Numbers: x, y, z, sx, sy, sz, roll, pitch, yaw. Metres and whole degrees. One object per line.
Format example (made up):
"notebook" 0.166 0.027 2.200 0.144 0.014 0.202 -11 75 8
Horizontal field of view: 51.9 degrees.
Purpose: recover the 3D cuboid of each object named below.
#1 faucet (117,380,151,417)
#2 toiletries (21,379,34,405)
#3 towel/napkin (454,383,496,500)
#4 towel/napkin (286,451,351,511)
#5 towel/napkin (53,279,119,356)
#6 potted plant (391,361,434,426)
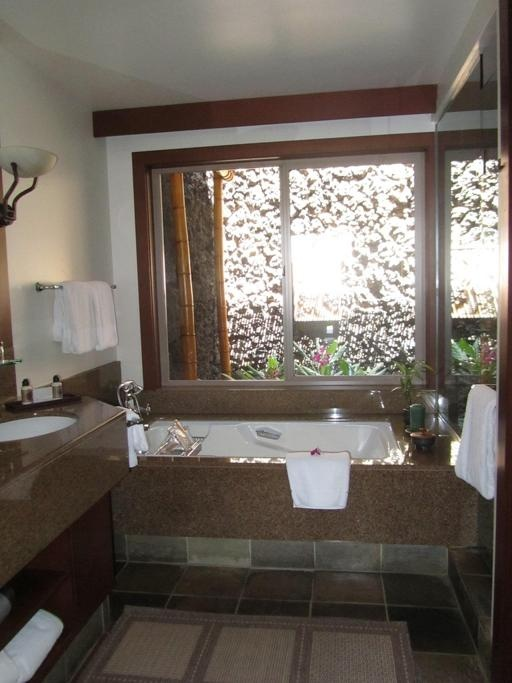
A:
"faucet" -0.668 0.319 2.877 0.136 0.240 0.181 -4 17 -5
"toiletries" -0.847 0.180 1.951 0.038 0.087 0.110 -3 4 -24
"towel/napkin" 0.766 0.368 1.832 0.121 0.420 0.365 -1 4 14
"towel/napkin" 0.267 0.592 2.223 0.234 0.224 0.094 -1 7 6
"towel/napkin" -0.868 -0.122 2.656 0.149 0.315 0.412 2 5 18
"potted plant" 0.877 0.270 2.999 0.213 0.343 0.633 0 4 18
